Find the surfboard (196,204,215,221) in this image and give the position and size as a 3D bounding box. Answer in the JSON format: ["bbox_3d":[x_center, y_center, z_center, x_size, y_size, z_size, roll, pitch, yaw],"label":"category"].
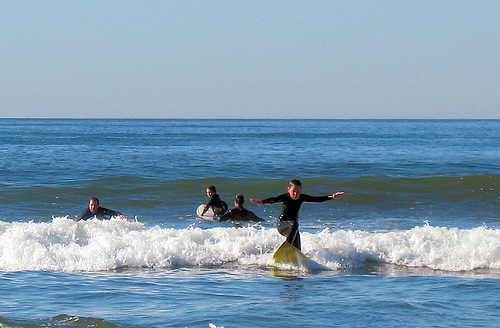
[{"bbox_3d":[-1.994,2.065,35.692,0.652,0.421,0.679,4,4,-35],"label":"surfboard"}]

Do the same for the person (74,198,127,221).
[{"bbox_3d":[-6.012,1.911,33.179,1.996,1.249,1.064,9,-8,-22],"label":"person"}]
